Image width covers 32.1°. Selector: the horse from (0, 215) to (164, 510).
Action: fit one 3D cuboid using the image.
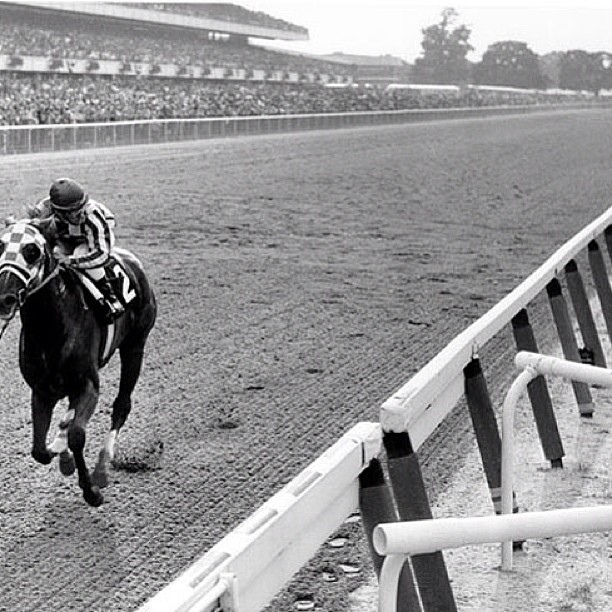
[{"bbox_3d":[-0.855,0.148,3.953,0.335,1.005,1.099,1,11,3],"label":"horse"}]
